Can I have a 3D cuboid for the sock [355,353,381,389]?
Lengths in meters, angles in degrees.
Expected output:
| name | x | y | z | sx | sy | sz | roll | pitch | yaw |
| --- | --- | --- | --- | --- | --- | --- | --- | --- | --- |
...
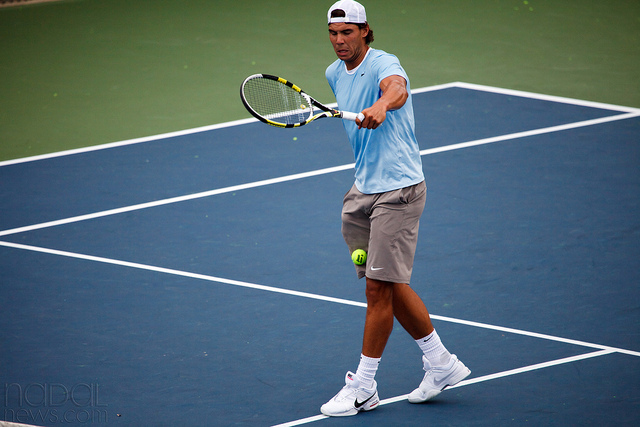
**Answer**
| name | x | y | z | sx | sy | sz | roll | pitch | yaw |
| --- | --- | --- | --- | --- | --- | --- | --- | --- | --- |
| sock | 0.379 | 1.295 | 5.618 | 0.166 | 0.234 | 0.180 | 6 | 40 | 11 |
